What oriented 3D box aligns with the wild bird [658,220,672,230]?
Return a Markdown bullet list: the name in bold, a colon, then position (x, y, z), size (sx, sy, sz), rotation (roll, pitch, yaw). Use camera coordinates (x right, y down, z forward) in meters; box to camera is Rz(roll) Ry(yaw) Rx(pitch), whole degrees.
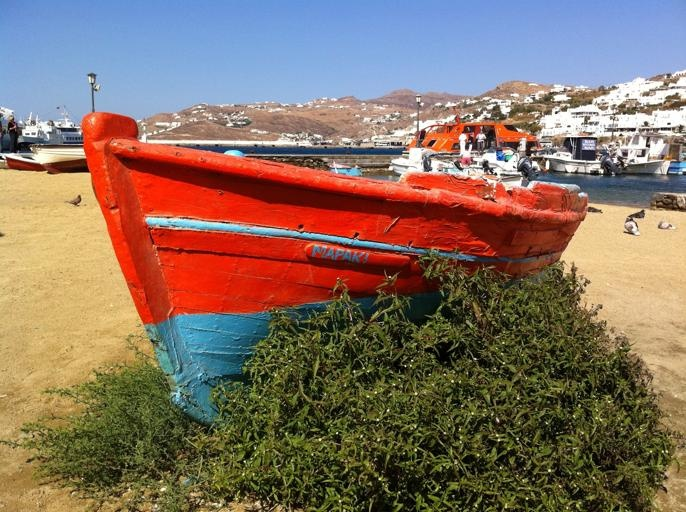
- **wild bird**: position (8.974, -0.879, 13.137), size (0.275, 0.166, 0.404), rotation (-7, 6, -42)
